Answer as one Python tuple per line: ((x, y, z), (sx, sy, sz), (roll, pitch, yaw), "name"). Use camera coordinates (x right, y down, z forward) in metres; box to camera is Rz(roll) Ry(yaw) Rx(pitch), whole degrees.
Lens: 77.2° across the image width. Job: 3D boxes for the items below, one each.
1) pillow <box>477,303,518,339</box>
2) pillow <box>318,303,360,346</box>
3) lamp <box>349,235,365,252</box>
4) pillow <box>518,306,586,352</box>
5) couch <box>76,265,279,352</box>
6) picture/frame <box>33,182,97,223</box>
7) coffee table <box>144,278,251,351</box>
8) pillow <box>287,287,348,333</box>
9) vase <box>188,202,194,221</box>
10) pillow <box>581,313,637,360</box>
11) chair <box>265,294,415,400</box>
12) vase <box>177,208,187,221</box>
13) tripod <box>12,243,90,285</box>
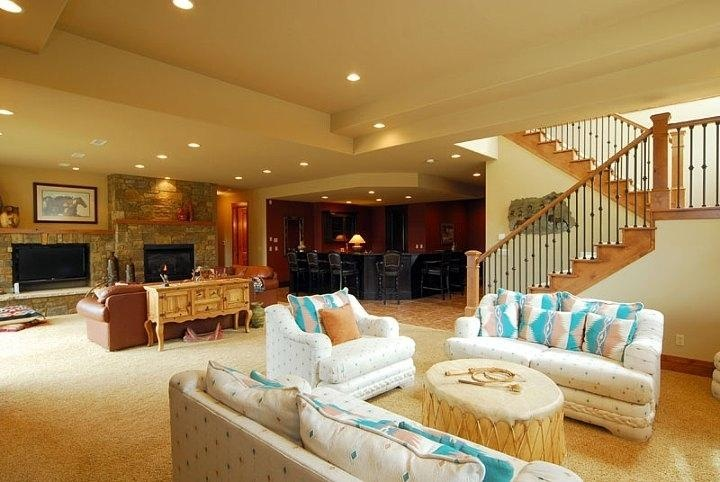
((1.685, 0.951, 5.454), (0.430, 0.401, 0.164), (1, -18, 12), "pillow")
((-0.208, 0.983, 5.379), (0.275, 0.416, 0.559), (10, 6, 36), "pillow")
((-0.052, 0.038, 11.870), (0.494, 0.447, 0.487), (0, 1, -43), "lamp")
((2.232, 1.009, 5.280), (0.701, 0.432, 0.247), (6, 11, 28), "pillow")
((-3.242, 1.028, 8.110), (3.091, 1.111, 3.461), (1, -1, -32), "couch")
((-6.151, -0.791, 9.321), (0.923, 0.734, 0.035), (-2, 2, -40), "picture/frame")
((-2.468, 1.075, 7.008), (0.525, 0.850, 1.512), (-2, 0, 44), "coffee table")
((-0.499, 0.772, 5.651), (1.010, 0.236, 0.990), (-8, 6, 9), "pillow")
((-3.950, -0.686, 10.558), (0.102, 0.404, 0.195), (0, 0, -12), "vase")
((2.689, 0.985, 5.011), (0.522, 0.496, 0.275), (13, 31, 20), "pillow")
((-0.191, 1.218, 5.407), (1.676, 0.954, 1.655), (2, 4, 25), "chair")
((-4.061, -0.607, 10.351), (0.138, 0.303, 0.270), (0, 0, 18), "vase")
((-6.150, 0.433, 9.014), (1.256, 0.788, 0.172), (0, 0, -37), "tripod")
